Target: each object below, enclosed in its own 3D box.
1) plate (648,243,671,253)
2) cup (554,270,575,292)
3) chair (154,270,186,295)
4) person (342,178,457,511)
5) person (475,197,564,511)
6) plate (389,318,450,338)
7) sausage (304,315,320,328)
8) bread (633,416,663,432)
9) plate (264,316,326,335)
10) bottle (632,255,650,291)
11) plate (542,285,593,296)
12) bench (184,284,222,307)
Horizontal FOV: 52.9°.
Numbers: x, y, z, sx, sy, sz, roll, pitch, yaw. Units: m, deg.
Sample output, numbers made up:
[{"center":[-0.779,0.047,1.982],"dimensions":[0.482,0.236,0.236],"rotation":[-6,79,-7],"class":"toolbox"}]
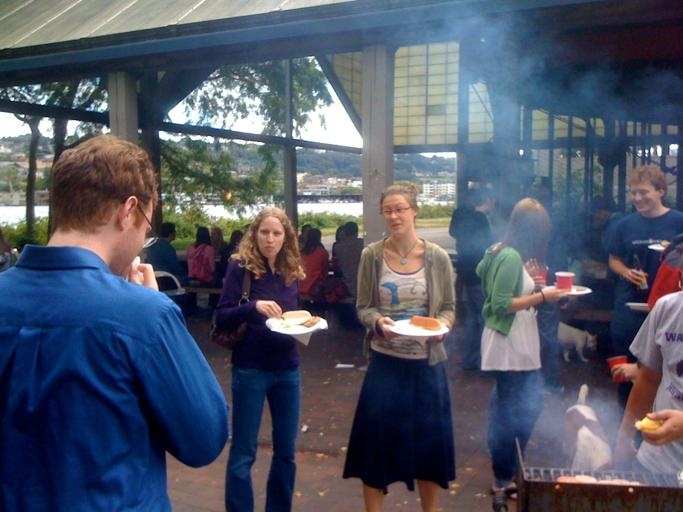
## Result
[{"center":[2.532,-0.062,5.512],"dimensions":[0.113,0.081,0.269],"rotation":[1,8,20],"class":"plate"},{"center":[1.699,0.189,5.278],"dimensions":[0.158,0.130,0.157],"rotation":[0,2,0],"class":"cup"},{"center":[-2.213,0.325,8.880],"dimensions":[0.340,0.392,0.387],"rotation":[-8,13,-42],"class":"chair"},{"center":[0.395,0.701,4.770],"dimensions":[0.762,2.373,0.711],"rotation":[0,7,8],"class":"person"},{"center":[1.269,0.685,5.108],"dimensions":[0.570,2.186,0.829],"rotation":[5,10,40],"class":"person"},{"center":[0.503,0.480,4.479],"dimensions":[0.372,0.084,0.297],"rotation":[1,8,20],"class":"plate"},{"center":[-0.203,0.443,4.655],"dimensions":[0.066,0.026,0.083],"rotation":[-27,10,1],"class":"sausage"},{"center":[1.543,0.866,3.476],"dimensions":[0.089,0.035,0.072],"rotation":[19,51,29],"class":"bread"},{"center":[-0.300,0.480,4.581],"dimensions":[0.402,0.136,0.239],"rotation":[-3,8,-12],"class":"plate"},{"center":[2.441,0.136,5.593],"dimensions":[0.081,0.088,0.288],"rotation":[-14,35,20],"class":"bottle"},{"center":[1.767,0.270,5.414],"dimensions":[0.244,0.036,0.225],"rotation":[-6,3,-27],"class":"plate"},{"center":[-2.152,0.600,10.577],"dimensions":[0.540,0.230,0.391],"rotation":[1,0,40],"class":"bench"}]
